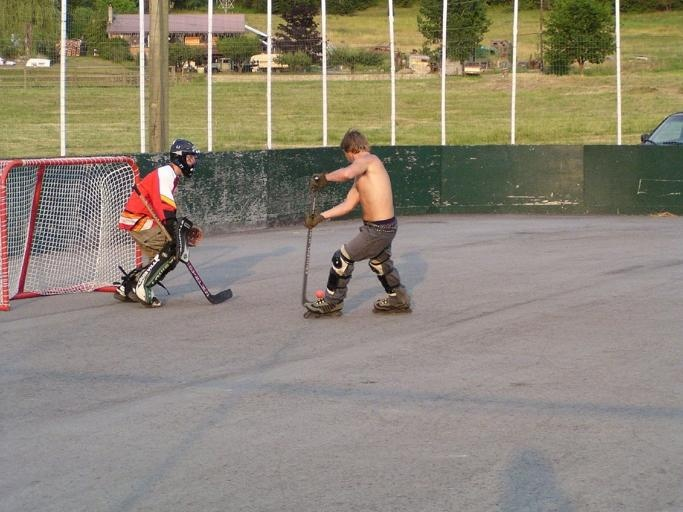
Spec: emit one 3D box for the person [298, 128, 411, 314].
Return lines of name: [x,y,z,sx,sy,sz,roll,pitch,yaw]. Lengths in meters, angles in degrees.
person: [0.232,-0.371,9.939,1.287,2.160,0.967,0,1,18]

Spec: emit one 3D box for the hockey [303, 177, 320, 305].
hockey: [-0.474,-0.203,12.547,0.389,2.220,0.417,0,14,-6]

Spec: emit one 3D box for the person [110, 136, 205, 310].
person: [-2.272,-0.378,10.644,0.969,2.112,1.065,-2,19,-31]
